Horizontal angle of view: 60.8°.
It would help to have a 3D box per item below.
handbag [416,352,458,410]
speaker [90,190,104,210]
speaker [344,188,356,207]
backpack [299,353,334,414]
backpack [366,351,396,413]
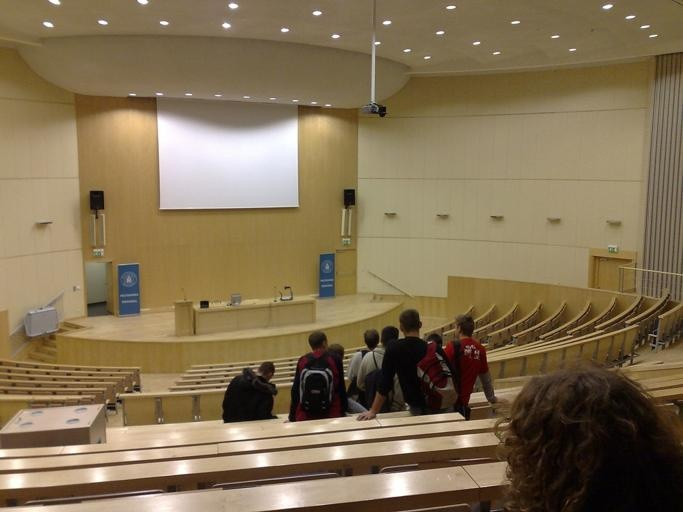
[{"bbox_3d":[0.846,1.032,4.960,0.299,0.518,0.264,-25,27,-20],"label":"handbag"},{"bbox_3d":[-6.257,-1.437,14.943,0.370,0.534,0.353,-1,0,-25],"label":"speaker"},{"bbox_3d":[0.284,-1.753,17.590,0.391,0.539,0.304,-1,0,-12],"label":"speaker"},{"bbox_3d":[-0.222,1.130,5.227,0.322,0.536,0.327,3,1,33],"label":"backpack"},{"bbox_3d":[0.386,1.128,5.659,0.181,0.381,0.242,-13,4,5],"label":"backpack"}]
